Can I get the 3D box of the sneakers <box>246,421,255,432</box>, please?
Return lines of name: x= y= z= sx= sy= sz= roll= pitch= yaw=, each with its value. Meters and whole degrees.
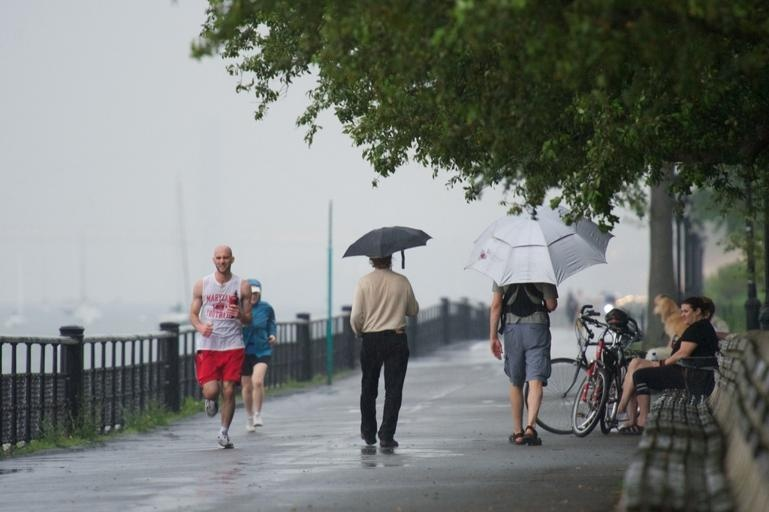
sneakers: x=-1.817 y=2.347 z=20.922 sx=0.115 sy=0.182 sz=0.112 roll=-1 pitch=-21 yaw=2

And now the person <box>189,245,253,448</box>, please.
person: x=-2.027 y=1.148 z=19.168 sx=0.754 sy=2.544 sz=0.339 roll=-2 pitch=-4 yaw=-8

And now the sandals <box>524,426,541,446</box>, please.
sandals: x=1.846 y=2.236 z=18.990 sx=0.212 sy=0.238 sz=0.114 roll=-3 pitch=-4 yaw=6

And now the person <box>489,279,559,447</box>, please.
person: x=1.778 y=1.336 z=19.099 sx=0.823 sy=2.052 sz=0.394 roll=-3 pitch=-4 yaw=5

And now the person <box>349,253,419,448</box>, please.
person: x=0.003 y=1.198 z=19.017 sx=0.797 sy=2.409 sz=0.612 roll=-2 pitch=-4 yaw=-2

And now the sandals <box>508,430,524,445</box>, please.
sandals: x=1.675 y=2.283 z=19.116 sx=0.095 sy=0.118 sz=0.245 roll=0 pitch=1 yaw=-6

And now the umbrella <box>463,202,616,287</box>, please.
umbrella: x=1.933 y=-0.088 z=19.204 sx=1.430 sy=0.721 sz=1.544 roll=-18 pitch=32 yaw=-1

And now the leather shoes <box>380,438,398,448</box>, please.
leather shoes: x=0.069 y=2.334 z=18.976 sx=0.233 sy=0.123 sz=0.325 roll=-3 pitch=-4 yaw=0

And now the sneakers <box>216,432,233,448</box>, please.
sneakers: x=-1.995 y=2.288 z=19.235 sx=0.161 sy=0.267 sz=0.138 roll=-5 pitch=-40 yaw=-20

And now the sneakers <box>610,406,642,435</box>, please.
sneakers: x=3.044 y=2.177 z=19.812 sx=0.566 sy=0.239 sz=0.202 roll=3 pitch=-6 yaw=-6

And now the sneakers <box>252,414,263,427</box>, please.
sneakers: x=-1.766 y=2.284 z=21.159 sx=0.172 sy=0.188 sz=0.110 roll=-6 pitch=-7 yaw=29

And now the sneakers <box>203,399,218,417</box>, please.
sneakers: x=-2.290 y=2.009 z=20.111 sx=0.177 sy=0.222 sz=0.546 roll=1 pitch=-1 yaw=1
